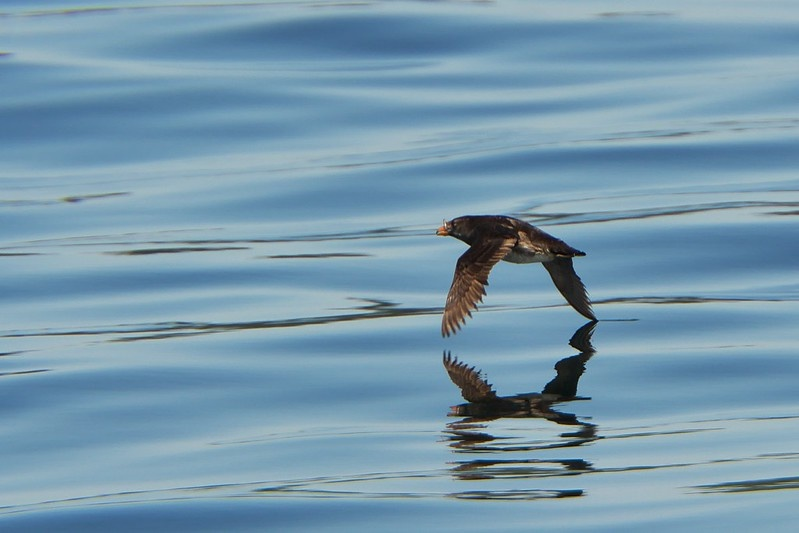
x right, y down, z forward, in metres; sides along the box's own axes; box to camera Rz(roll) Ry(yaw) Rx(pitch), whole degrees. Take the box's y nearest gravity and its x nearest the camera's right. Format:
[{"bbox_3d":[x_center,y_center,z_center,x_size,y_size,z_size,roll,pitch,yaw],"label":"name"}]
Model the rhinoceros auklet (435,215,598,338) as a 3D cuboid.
[{"bbox_3d":[1.514,0.073,17.021,1.825,1.942,1.068,0,-26,3],"label":"rhinoceros auklet"}]
